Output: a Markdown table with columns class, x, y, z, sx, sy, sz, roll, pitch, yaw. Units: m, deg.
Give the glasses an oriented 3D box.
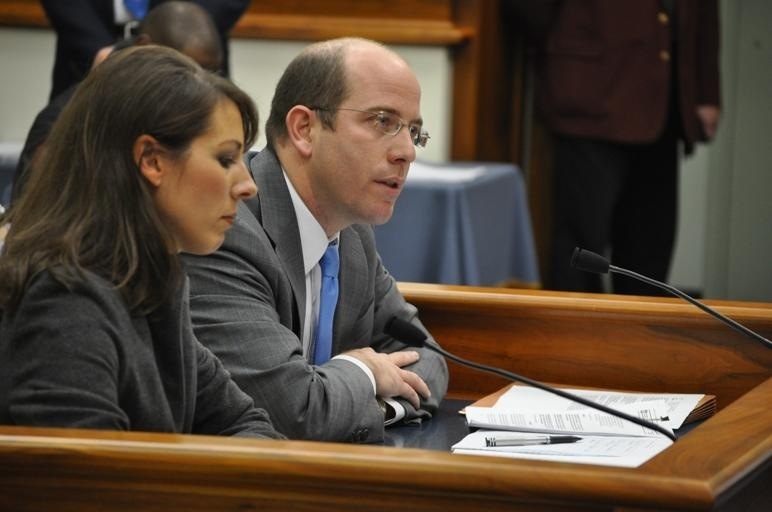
| class | x | y | z | sx | sy | sz | roll | pitch | yaw |
| --- | --- | --- | --- | --- | --- | --- | --- | --- | --- |
| glasses | -0.003 | -0.361 | 2.184 | 0.192 | 0.051 | 0.149 | 18 | -2 | 10 |
